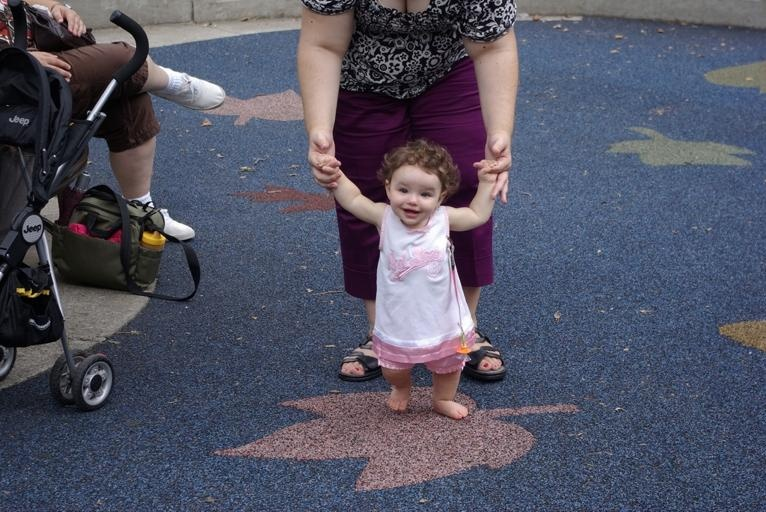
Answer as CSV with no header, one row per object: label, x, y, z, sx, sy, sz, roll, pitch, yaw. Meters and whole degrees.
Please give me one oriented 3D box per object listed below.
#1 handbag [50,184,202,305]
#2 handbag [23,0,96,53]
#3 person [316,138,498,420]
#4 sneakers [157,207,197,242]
handbag,-1.446,-0.083,4.640,1.016,0.595,0.576,14,10,-11
handbag,-1.916,-1.293,4.270,0.337,0.146,0.273,8,47,-41
person,0.174,0.150,3.437,0.736,1.267,0.531,-4,32,-4
sneakers,-1.378,-0.200,4.886,0.349,0.142,0.121,21,14,-1
